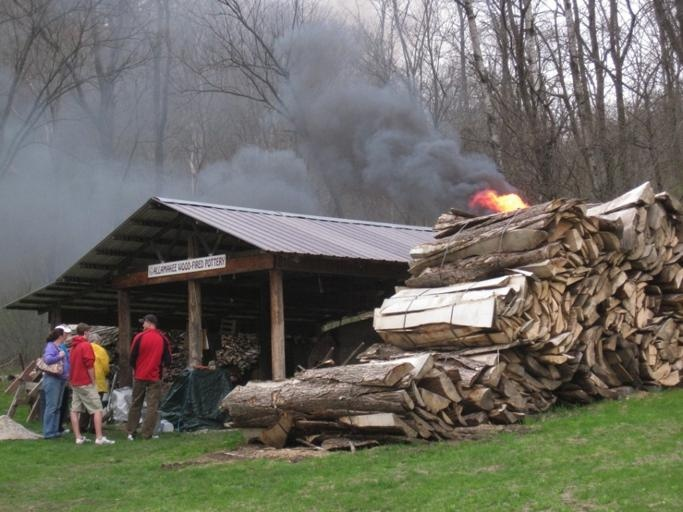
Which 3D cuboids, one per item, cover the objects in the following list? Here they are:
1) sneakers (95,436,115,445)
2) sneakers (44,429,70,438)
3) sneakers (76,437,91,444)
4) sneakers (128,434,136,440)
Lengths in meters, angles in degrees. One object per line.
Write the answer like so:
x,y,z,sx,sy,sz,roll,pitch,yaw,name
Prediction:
-5.193,4.057,19.104,0.497,0.221,0.173,2,-1,0,sneakers
-6.550,4.069,19.900,0.443,0.176,0.145,-3,-1,2,sneakers
-5.710,4.059,19.270,0.132,0.156,0.358,3,3,32,sneakers
-4.703,4.057,19.482,0.132,0.121,0.129,-8,-13,15,sneakers
